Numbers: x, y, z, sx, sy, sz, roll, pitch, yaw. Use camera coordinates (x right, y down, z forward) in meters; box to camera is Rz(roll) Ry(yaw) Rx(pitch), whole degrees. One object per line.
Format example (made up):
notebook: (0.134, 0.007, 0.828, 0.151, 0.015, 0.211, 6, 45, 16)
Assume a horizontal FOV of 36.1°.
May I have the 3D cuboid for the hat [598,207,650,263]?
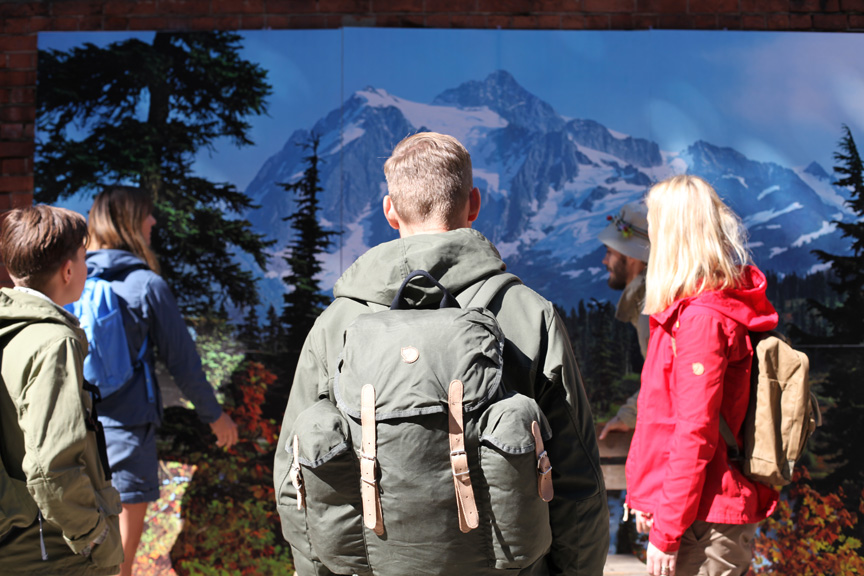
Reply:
hat: (1.364, -0.397, 9.020, 0.424, 0.282, 0.380, 1, -3, -10)
